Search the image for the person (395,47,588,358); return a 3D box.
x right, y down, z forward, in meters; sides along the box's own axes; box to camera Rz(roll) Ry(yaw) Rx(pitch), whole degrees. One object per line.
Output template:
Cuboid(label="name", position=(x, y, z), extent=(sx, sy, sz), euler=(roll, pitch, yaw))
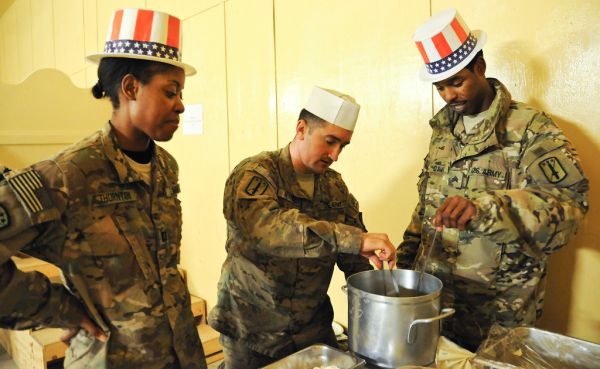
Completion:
Cuboid(label="person", position=(1.065, 0.125, 3.055), extent=(1.020, 1.774, 0.577), euler=(2, 5, 28))

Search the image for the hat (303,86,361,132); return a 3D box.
Cuboid(label="hat", position=(0.212, -0.449, 3.237), extent=(0.282, 0.153, 0.273), euler=(10, 19, -48))
